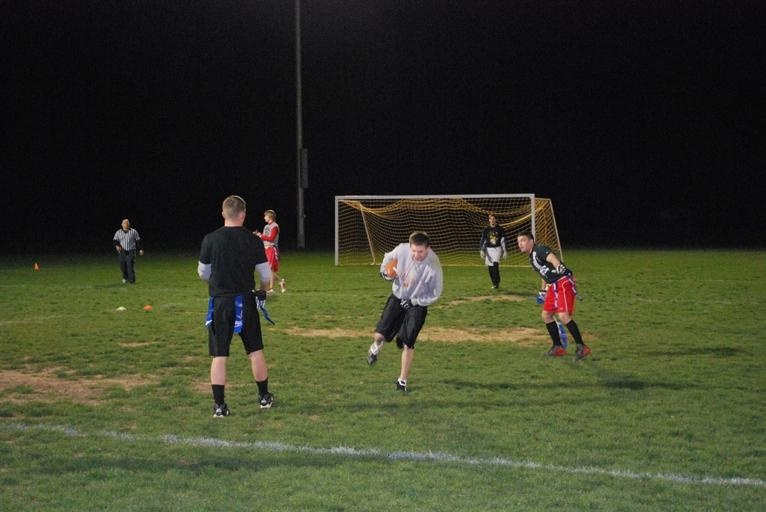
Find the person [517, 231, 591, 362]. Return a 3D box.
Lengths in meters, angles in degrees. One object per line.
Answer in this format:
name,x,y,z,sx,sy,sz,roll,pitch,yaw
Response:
person,3.210,0.697,11.948,1.423,2.165,0.695,10,15,40

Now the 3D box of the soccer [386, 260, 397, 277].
soccer,0.133,0.181,10.145,0.172,0.228,0.082,-19,-26,39

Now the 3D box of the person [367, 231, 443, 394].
person,0.381,0.850,10.417,1.066,2.579,0.519,2,12,8

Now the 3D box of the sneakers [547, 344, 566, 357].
sneakers,3.189,1.731,12.054,0.394,0.159,0.129,1,-4,-4

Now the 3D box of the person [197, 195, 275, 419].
person,-2.165,0.740,9.689,0.998,3.189,0.539,-3,12,-16

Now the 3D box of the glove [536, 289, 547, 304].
glove,2.947,0.751,12.222,0.186,0.254,0.137,4,18,12

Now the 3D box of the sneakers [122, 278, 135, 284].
sneakers,-7.306,0.693,18.931,0.449,0.197,0.165,-1,0,25

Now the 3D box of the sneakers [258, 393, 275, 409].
sneakers,-1.763,2.176,9.923,0.130,0.142,0.322,1,5,6
